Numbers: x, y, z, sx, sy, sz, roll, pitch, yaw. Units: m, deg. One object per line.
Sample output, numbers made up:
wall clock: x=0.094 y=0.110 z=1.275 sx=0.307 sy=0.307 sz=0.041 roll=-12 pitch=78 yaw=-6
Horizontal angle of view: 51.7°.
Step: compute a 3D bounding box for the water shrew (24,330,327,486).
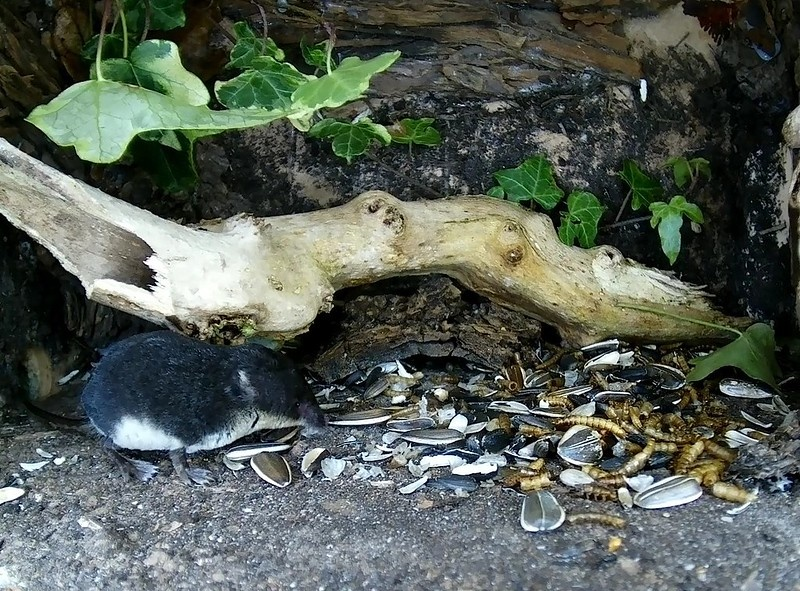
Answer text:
water shrew: x=-0.851 y=0.493 z=3.525 sx=0.921 sy=0.497 sz=0.535 roll=20 pitch=13 yaw=-17
